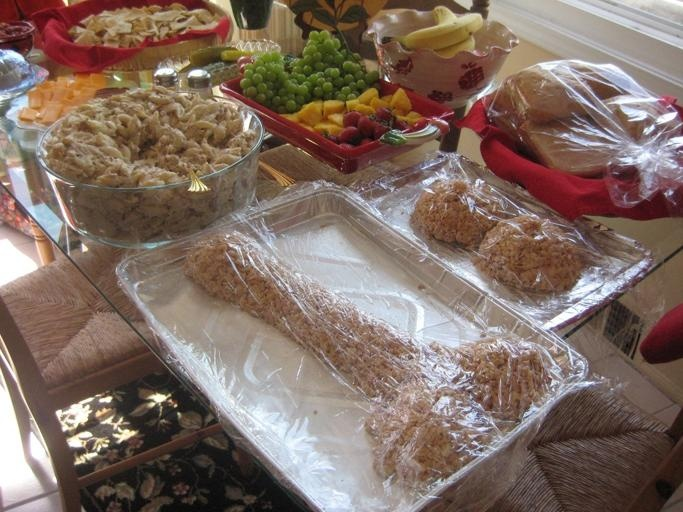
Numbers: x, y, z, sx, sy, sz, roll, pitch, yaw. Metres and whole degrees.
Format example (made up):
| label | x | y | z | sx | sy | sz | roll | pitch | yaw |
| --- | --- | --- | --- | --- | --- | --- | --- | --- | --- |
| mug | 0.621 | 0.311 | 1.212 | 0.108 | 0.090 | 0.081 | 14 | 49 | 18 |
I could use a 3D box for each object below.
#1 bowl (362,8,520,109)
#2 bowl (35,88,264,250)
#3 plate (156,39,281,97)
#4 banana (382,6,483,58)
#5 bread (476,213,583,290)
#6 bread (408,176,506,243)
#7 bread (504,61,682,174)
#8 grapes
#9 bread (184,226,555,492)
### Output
| label | x | y | z | sx | sy | sz | roll | pitch | yaw |
| --- | --- | --- | --- | --- | --- | --- | --- | --- | --- |
| bowl | 0.208 | -0.426 | 1.216 | 0.283 | 0.124 | 0.271 | 2 | 35 | -1 |
| bowl | -0.331 | -0.119 | 0.980 | 0.340 | 0.114 | 0.321 | 3 | 39 | -3 |
| plate | -0.320 | -0.472 | 1.376 | 0.300 | 0.054 | 0.190 | -30 | 40 | -25 |
| banana | 0.217 | -0.475 | 1.147 | 0.161 | 0.076 | 0.128 | 10 | 25 | 27 |
| bread | 0.321 | -0.001 | 0.920 | 0.144 | 0.049 | 0.146 | 34 | 54 | 25 |
| bread | 0.201 | -0.095 | 1.013 | 0.162 | 0.072 | 0.154 | 9 | 31 | -14 |
| bread | 0.483 | -0.278 | 1.020 | 0.241 | 0.099 | 0.266 | -23 | 51 | -4 |
| grapes | -0.091 | -0.361 | 1.160 | 0.292 | 0.134 | 0.209 | 9 | 45 | 14 |
| bread | 0.032 | 0.121 | 0.782 | 0.461 | 0.066 | 0.272 | 31 | 54 | 29 |
